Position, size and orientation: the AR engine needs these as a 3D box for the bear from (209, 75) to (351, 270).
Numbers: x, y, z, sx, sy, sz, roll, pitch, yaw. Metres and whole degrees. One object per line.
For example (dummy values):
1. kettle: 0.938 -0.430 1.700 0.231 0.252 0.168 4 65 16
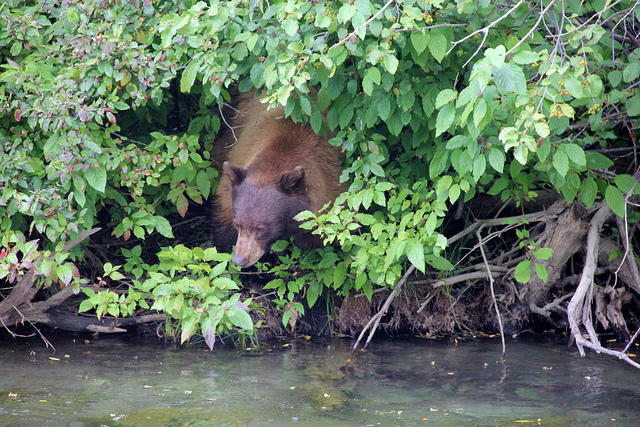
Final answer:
1. bear: -0.532 -0.339 7.870 1.302 2.330 1.293 -17 -36 36
